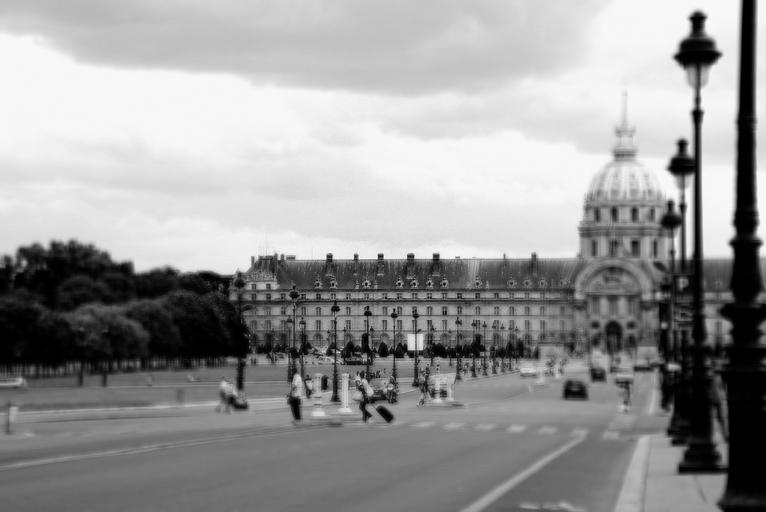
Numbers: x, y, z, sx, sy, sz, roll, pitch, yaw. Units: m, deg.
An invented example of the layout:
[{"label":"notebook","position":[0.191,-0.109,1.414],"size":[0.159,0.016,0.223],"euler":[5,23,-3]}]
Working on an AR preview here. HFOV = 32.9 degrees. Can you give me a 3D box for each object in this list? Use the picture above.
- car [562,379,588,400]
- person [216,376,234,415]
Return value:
[{"label":"car","position":[11.443,7.879,76.833],"size":[0.951,0.668,1.567],"euler":[0,1,14]},{"label":"person","position":[-7.176,6.287,58.309],"size":[0.738,1.362,1.674],"euler":[0,-6,-7]}]
